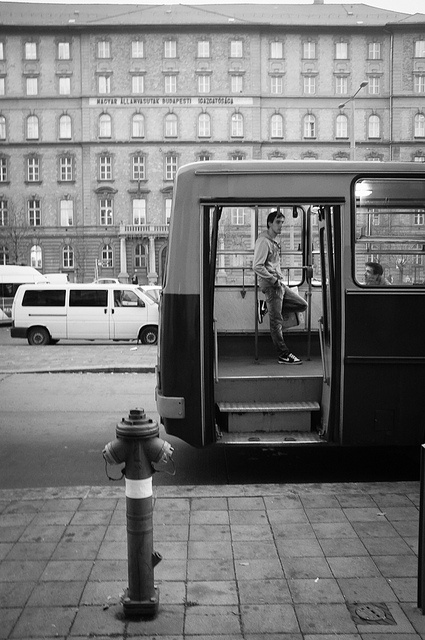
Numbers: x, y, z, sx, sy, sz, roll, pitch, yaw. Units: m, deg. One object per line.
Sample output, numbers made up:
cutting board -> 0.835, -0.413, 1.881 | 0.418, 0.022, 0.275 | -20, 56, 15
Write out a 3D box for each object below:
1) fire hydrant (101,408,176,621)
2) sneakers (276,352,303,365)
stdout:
fire hydrant -> -0.408, 1.021, 3.711 | 0.368, 1.096, 0.257 | 0, 2, -6
sneakers -> 0.839, 0.409, 7.554 | 0.267, 0.172, 0.107 | -1, 4, 26
